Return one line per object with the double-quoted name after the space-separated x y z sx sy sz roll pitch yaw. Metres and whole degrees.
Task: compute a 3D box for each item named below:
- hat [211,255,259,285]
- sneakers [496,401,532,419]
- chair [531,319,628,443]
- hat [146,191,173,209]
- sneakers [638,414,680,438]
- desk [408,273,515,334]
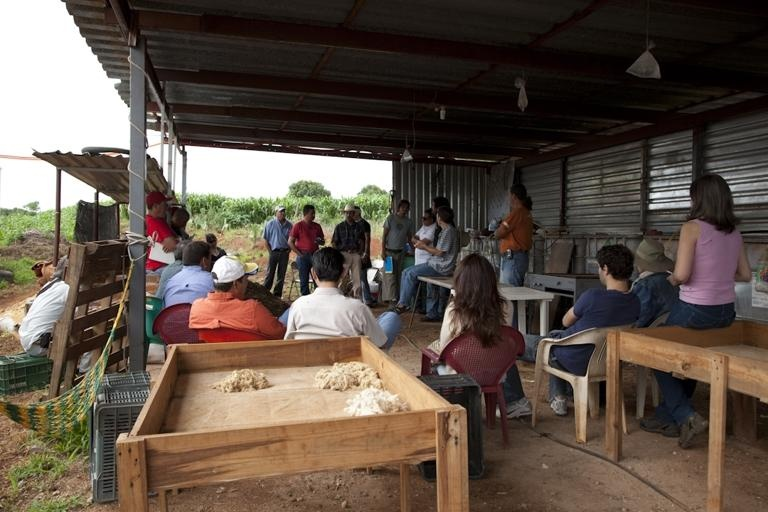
-1.197 0.102 3.944 0.249 0.196 0.259 -3 9 -21 "hat"
1.141 1.390 4.682 0.435 0.187 0.156 2 -9 -15 "sneakers"
1.790 1.094 4.581 0.812 0.912 0.799 2 -3 -45 "chair"
-2.830 -0.697 6.394 0.343 0.177 0.240 -5 8 -32 "hat"
2.343 1.445 4.392 0.118 0.120 0.271 -2 5 -44 "sneakers"
0.920 0.770 7.820 0.910 0.994 1.609 11 -4 3 "desk"
